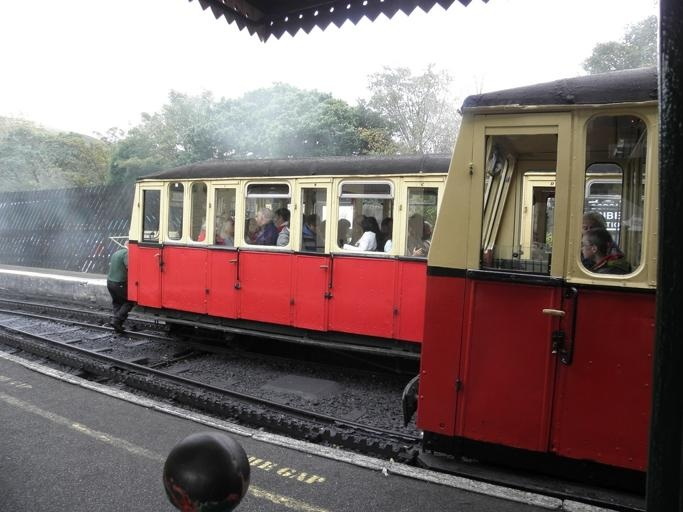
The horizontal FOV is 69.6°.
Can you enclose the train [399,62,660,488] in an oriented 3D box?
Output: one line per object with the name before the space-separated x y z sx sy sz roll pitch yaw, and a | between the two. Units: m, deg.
train | 1.901 0.127 4.595 1.838 3.688 1.135 6 5 34
